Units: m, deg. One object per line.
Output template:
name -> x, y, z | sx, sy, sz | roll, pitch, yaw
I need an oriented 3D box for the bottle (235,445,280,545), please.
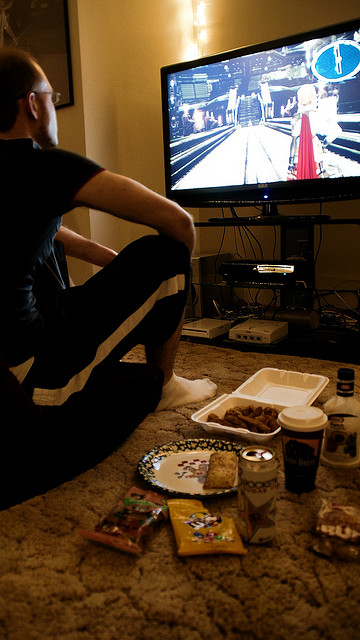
bottle -> 0.130, 0.298, 0.796 | 0.064, 0.167, 0.065 | -3, 17, 1

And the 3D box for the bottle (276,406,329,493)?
bottle -> 0.246, 0.263, 0.954 | 0.096, 0.162, 0.104 | 1, 6, 0
